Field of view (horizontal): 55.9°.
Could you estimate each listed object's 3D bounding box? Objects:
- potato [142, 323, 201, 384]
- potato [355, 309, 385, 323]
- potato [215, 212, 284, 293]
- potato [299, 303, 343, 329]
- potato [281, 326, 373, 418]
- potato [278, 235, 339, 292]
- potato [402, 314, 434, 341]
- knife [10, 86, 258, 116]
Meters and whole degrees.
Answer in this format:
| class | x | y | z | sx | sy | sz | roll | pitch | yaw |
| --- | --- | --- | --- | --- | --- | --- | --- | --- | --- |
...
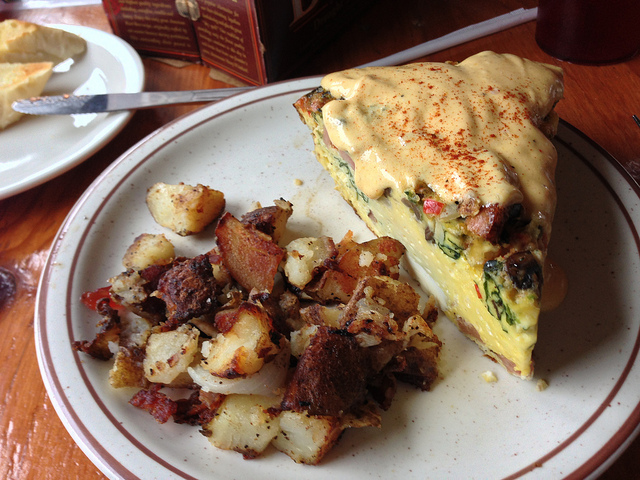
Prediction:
| class | x | y | z | sx | sy | sz | roll | pitch | yaw |
| --- | --- | --- | --- | --- | --- | --- | --- | --- | --- |
| potato | -0.504 | 0.374 | 2.099 | 0.256 | 0.215 | 0.160 | -8 | 106 | -11 |
| potato | 0.165 | 0.251 | 2.004 | 0.096 | 0.028 | 0.040 | 6 | 77 | 7 |
| potato | -0.268 | 0.046 | 2.245 | 0.266 | 0.074 | 0.275 | 14 | 70 | -3 |
| potato | -0.006 | 0.264 | 2.087 | 0.153 | 0.138 | 0.075 | 7 | 77 | 8 |
| potato | 0.035 | 0.445 | 1.955 | 0.225 | 0.117 | 0.315 | 23 | 80 | 11 |
| potato | -0.057 | 0.082 | 2.288 | 0.249 | 0.076 | 0.210 | -38 | 33 | -17 |
| potato | 0.331 | 0.299 | 2.077 | 0.096 | 0.064 | 0.085 | -8 | 76 | 4 |
| knife | -0.863 | -0.634 | 2.774 | 1.231 | 0.061 | 0.141 | -4 | 65 | -12 |
